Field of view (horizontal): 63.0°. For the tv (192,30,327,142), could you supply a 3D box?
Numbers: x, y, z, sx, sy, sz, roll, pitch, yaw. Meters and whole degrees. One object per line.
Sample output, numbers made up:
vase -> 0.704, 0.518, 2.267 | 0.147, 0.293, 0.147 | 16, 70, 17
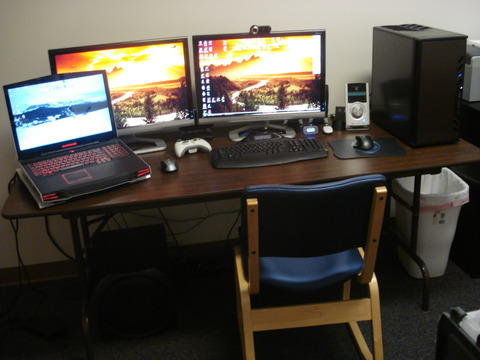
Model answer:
tv -> 0.119, -0.553, 2.262 | 0.614, 0.536, 0.171 | -3, 24, -3

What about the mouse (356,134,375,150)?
mouse -> 0.682, -0.201, 2.118 | 0.069, 0.056, 0.097 | -2, 26, -1

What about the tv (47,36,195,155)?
tv -> -0.657, -0.454, 2.138 | 0.566, 0.477, 0.250 | -8, 24, -15
